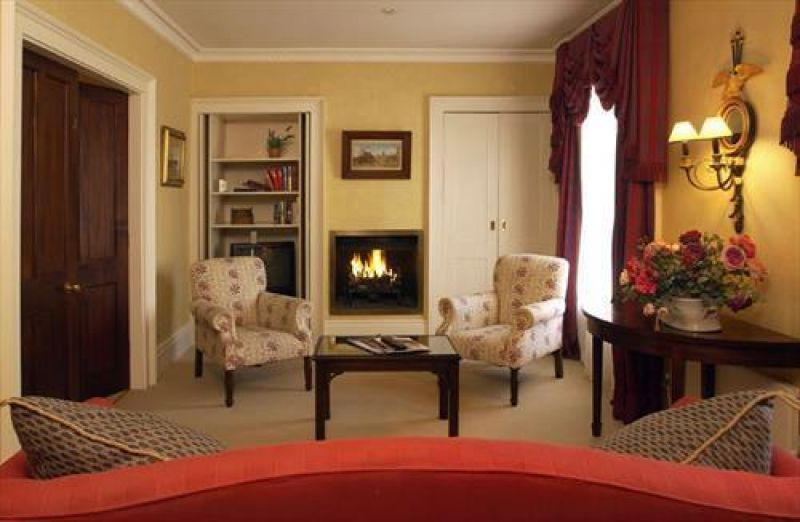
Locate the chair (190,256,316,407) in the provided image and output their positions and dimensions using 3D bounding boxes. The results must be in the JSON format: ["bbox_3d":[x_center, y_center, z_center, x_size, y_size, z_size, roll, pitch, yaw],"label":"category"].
[{"bbox_3d":[-1.276,0.524,5.180,1.031,1.027,1.022,4,6,16],"label":"chair"}]

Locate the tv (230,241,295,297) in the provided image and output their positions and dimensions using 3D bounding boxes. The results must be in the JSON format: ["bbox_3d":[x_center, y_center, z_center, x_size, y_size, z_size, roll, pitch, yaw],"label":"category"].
[{"bbox_3d":[-1.339,0.071,6.497,0.637,0.565,0.150,1,0,-38],"label":"tv"}]

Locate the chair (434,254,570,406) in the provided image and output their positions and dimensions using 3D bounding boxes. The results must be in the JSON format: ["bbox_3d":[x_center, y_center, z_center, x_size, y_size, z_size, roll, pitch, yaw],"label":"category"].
[{"bbox_3d":[0.926,0.498,5.195,0.925,1.034,0.945,-6,7,-38],"label":"chair"}]

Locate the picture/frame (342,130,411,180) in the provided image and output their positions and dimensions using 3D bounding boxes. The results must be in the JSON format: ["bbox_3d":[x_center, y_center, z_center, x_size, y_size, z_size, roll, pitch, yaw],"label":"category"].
[{"bbox_3d":[-0.254,-1.119,6.294,0.523,0.358,0.023,0,6,-1],"label":"picture/frame"}]

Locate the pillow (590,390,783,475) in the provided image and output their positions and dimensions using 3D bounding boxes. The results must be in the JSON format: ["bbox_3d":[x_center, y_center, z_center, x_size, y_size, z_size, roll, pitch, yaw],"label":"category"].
[{"bbox_3d":[1.105,0.587,2.304,0.472,0.139,0.407,-13,-3,12],"label":"pillow"}]

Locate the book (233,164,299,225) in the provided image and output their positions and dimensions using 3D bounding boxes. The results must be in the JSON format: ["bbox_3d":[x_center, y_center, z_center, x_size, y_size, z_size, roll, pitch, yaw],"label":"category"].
[{"bbox_3d":[-1.397,-0.710,6.473,0.688,0.602,0.471,-3,12,-8],"label":"book"}]

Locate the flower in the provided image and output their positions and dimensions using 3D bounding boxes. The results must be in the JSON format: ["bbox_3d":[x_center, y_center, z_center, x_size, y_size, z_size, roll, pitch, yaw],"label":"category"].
[{"bbox_3d":[1.748,0.069,3.621,0.652,0.395,0.644,-3,-6,21],"label":"flower"}]

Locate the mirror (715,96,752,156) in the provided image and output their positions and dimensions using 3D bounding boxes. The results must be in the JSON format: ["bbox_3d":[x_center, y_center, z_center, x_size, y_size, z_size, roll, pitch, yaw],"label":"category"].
[{"bbox_3d":[2.158,-0.874,3.955,0.100,0.371,0.249,-4,12,-12],"label":"mirror"}]

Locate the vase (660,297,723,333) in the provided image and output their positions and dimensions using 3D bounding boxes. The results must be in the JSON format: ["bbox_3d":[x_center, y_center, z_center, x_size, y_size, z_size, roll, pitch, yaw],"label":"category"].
[{"bbox_3d":[1.766,0.324,3.712,0.293,0.158,0.230,8,5,42],"label":"vase"}]
